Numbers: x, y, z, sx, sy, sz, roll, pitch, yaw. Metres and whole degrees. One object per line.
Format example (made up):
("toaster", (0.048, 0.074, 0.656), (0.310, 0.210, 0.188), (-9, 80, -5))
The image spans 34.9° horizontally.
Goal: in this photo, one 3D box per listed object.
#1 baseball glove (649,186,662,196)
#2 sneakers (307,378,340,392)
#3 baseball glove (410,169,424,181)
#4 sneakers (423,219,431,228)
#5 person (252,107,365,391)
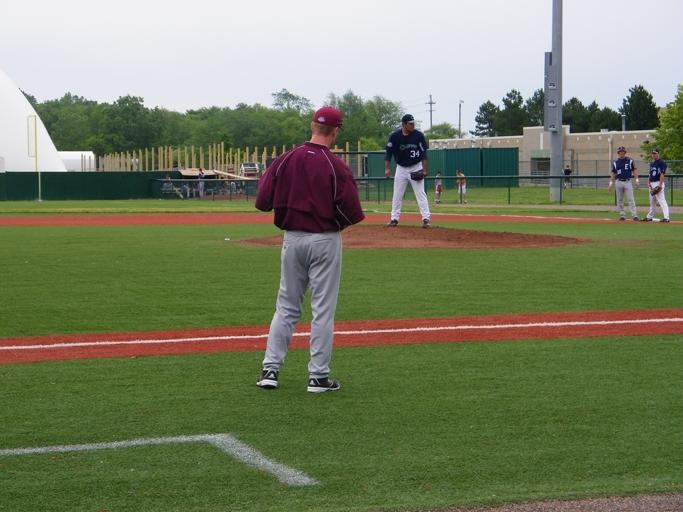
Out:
("baseball glove", (6.381, -1.320, 22.097), (0.183, 0.231, 0.374), (0, 12, -3))
("sneakers", (-0.146, 0.990, 8.338), (0.266, 0.100, 0.095), (-2, 3, -17))
("baseball glove", (1.237, -1.301, 17.767), (0.230, 0.179, 0.223), (-3, 13, -14))
("sneakers", (1.404, -0.522, 18.071), (0.103, 0.095, 0.233), (0, -3, -2))
("person", (-0.250, -0.045, 8.285), (0.800, 2.118, 0.564), (0, 13, -3))
